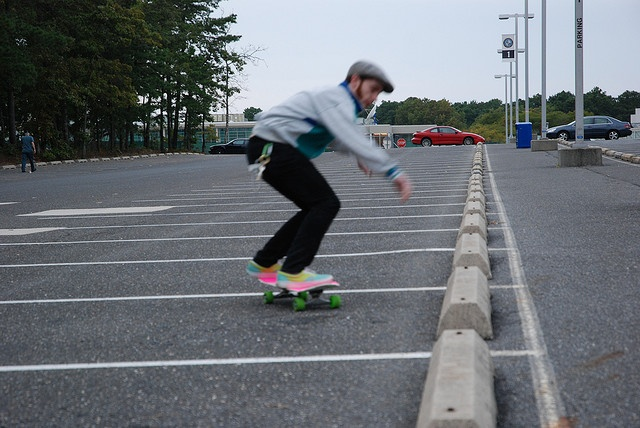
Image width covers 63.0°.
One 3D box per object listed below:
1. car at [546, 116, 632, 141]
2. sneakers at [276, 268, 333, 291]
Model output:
[{"bbox_3d":[18.693,-5.834,35.557,4.566,1.563,2.537,6,13,32],"label":"car"},{"bbox_3d":[-0.141,0.593,4.686,0.450,0.192,0.195,-3,-2,-14],"label":"sneakers"}]
